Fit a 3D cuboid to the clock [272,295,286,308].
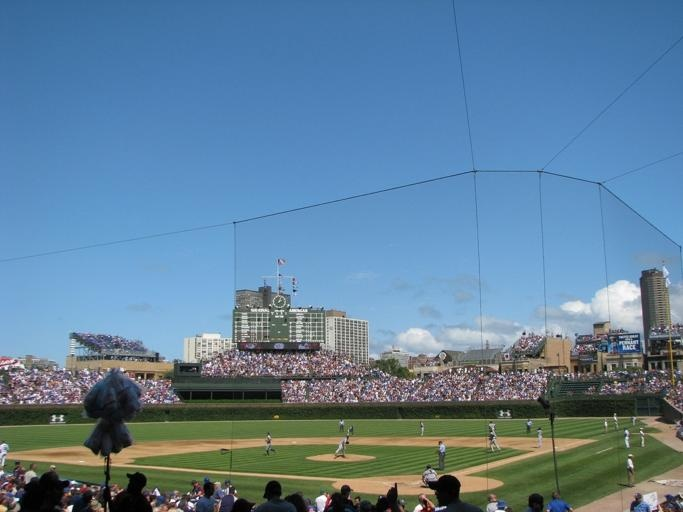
[{"bbox_3d":[-8.957,6.641,121.224,2.135,1.792,1.748,-1,-2,-5],"label":"clock"}]
